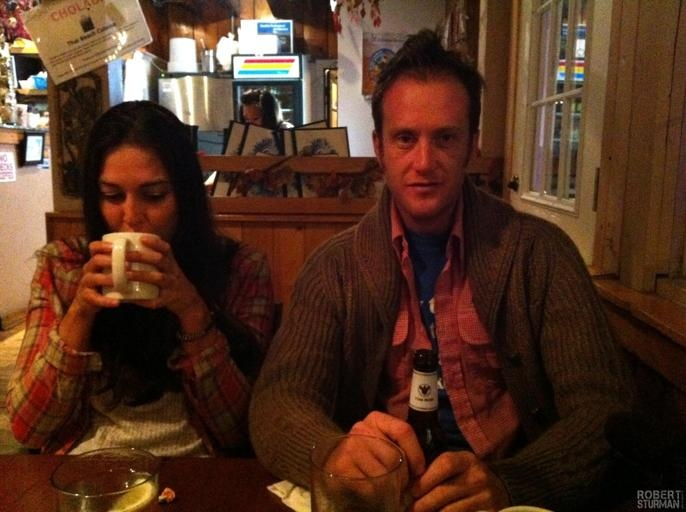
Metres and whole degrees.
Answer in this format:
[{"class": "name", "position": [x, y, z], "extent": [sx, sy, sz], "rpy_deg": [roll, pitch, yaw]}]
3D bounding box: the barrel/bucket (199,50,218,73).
[{"class": "barrel/bucket", "position": [-1.579, -2.283, 6.362], "extent": [0.192, 0.345, 0.455], "rpy_deg": [-4, 9, -12]}]

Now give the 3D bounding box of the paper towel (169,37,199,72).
[{"class": "paper towel", "position": [-1.650, -2.214, 6.025], "extent": [0.360, 0.368, 0.355], "rpy_deg": [0, 19, -13]}]

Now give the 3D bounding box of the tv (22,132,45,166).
[{"class": "tv", "position": [-2.638, -0.932, 4.690], "extent": [0.321, 0.300, 0.038], "rpy_deg": [10, 6, 33]}]

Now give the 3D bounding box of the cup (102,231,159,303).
[{"class": "cup", "position": [-0.568, 0.024, 1.422], "extent": [0.121, 0.181, 0.199], "rpy_deg": [2, 4, -12]}]

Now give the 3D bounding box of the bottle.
[{"class": "bottle", "position": [0.180, 0.322, 1.173], "extent": [0.075, 0.283, 0.179], "rpy_deg": [0, 9, 9]}]
